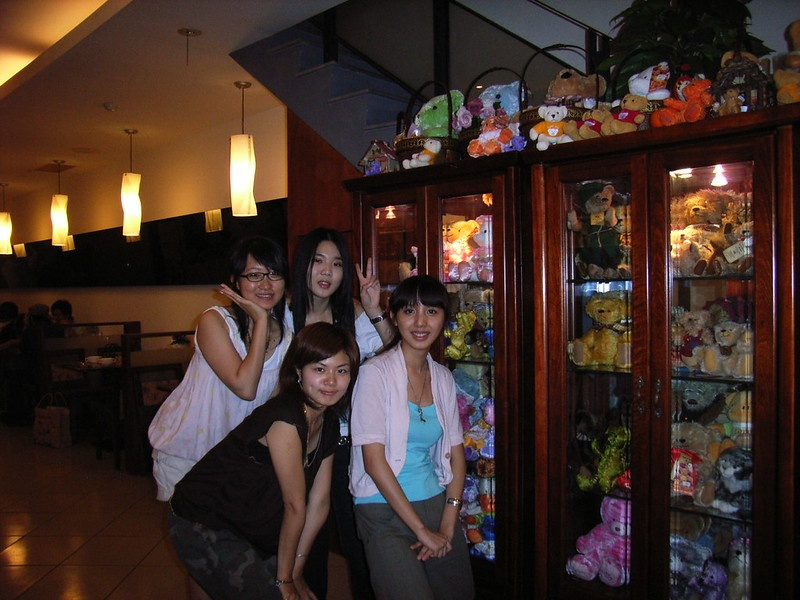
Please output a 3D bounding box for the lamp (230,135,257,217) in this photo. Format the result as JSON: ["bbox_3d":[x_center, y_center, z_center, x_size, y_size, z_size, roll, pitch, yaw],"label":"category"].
[{"bbox_3d":[-1.303,-1.004,5.125,0.206,0.207,0.685,-10,-22,-19],"label":"lamp"}]

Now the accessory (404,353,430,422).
[{"bbox_3d":[0.083,0.379,2.671,0.060,0.250,0.176,-11,6,-13],"label":"accessory"}]

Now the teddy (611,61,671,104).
[{"bbox_3d":[1.112,-0.984,2.809,0.124,0.059,0.148,-34,31,-8],"label":"teddy"}]

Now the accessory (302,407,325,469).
[{"bbox_3d":[-0.357,0.557,2.532,0.048,0.194,0.109,3,-2,41],"label":"accessory"}]

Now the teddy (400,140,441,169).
[{"bbox_3d":[0.106,-0.719,3.096,0.147,0.172,0.134,20,39,0],"label":"teddy"}]

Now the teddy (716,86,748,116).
[{"bbox_3d":[1.358,-0.803,2.511,0.115,0.118,0.084,3,8,27],"label":"teddy"}]

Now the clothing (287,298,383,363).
[{"bbox_3d":[-0.322,0.163,3.108,0.319,0.331,0.261,-15,-4,43],"label":"clothing"}]

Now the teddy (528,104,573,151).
[{"bbox_3d":[0.709,-0.796,2.839,0.186,0.188,0.153,3,26,20],"label":"teddy"}]

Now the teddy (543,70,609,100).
[{"bbox_3d":[0.851,-1.043,2.970,0.235,0.106,0.212,-20,31,-39],"label":"teddy"}]

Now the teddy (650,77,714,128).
[{"bbox_3d":[1.229,-0.835,2.648,0.243,0.246,0.147,8,19,26],"label":"teddy"}]
